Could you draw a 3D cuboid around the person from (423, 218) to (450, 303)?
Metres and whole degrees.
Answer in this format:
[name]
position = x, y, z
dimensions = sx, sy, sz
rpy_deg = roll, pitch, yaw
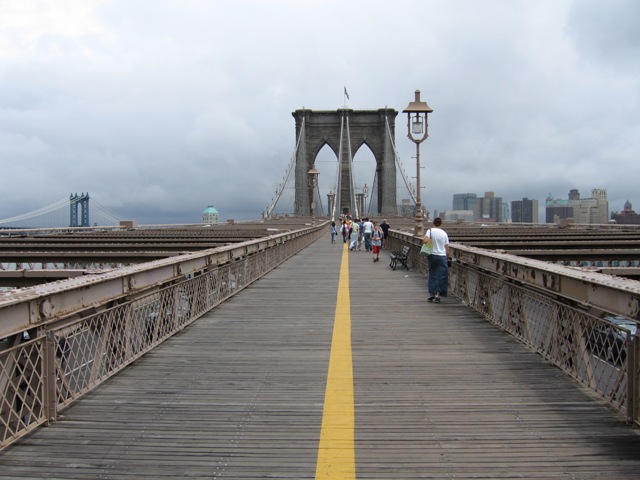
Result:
[person]
position = 2.255, 0.512, 12.584
dimensions = 0.454, 1.423, 0.348
rpy_deg = 4, 10, 24

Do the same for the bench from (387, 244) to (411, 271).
[bench]
position = 2.497, 0.285, 20.334
dimensions = 0.574, 1.002, 1.392
rpy_deg = 0, -1, -1

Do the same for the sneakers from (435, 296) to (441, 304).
[sneakers]
position = 2.276, 1.165, 12.545
dimensions = 0.087, 0.116, 0.266
rpy_deg = -2, -8, 8
